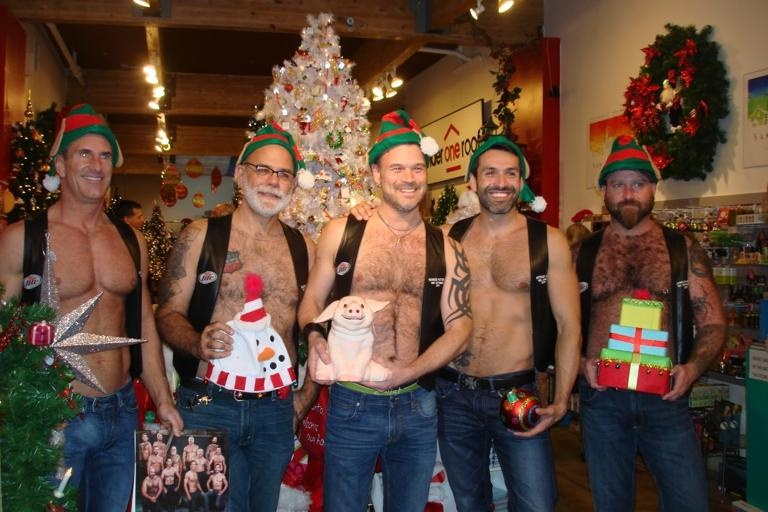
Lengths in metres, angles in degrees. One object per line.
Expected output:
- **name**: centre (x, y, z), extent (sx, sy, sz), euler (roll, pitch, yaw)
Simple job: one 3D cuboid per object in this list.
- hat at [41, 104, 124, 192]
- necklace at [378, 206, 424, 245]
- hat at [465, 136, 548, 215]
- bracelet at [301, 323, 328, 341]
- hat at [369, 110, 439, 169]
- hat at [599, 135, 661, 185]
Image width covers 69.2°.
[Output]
- **hat**: centre (-2.079, -0.770, 4.127), extent (0.620, 0.656, 0.631), euler (2, -3, -43)
- **necklace**: centre (0.094, -0.205, 3.846), extent (0.243, 0.232, 0.083), euler (2, -20, -15)
- **hat**: centre (0.978, -0.720, 4.560), extent (0.657, 0.762, 0.287), euler (4, 14, 1)
- **bracelet**: centre (-0.460, 0.472, 3.650), extent (0.149, 0.102, 0.240), euler (0, 0, -10)
- **hat**: centre (0.139, -0.803, 3.964), extent (0.465, 0.329, 0.334), euler (0, -8, -32)
- **hat**: centre (1.921, -0.770, 4.439), extent (0.374, 0.338, 0.408), euler (-4, -18, 11)
